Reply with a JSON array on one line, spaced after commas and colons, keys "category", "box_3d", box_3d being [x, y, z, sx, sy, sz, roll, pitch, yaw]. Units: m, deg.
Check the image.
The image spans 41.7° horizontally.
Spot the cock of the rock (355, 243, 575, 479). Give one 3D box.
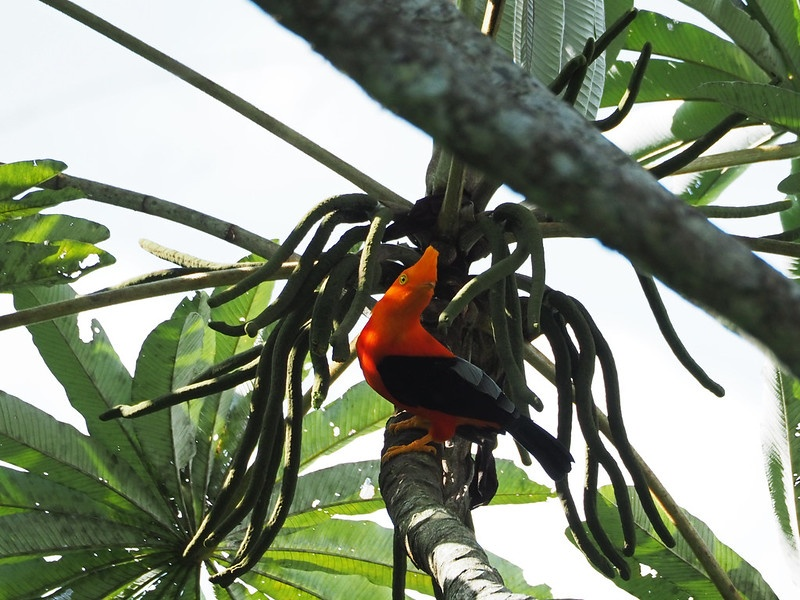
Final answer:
[{"category": "cock of the rock", "box_3d": [0.187, 0.411, 4.518, 0.617, 0.727, 0.762, -37, -53, 15]}]
